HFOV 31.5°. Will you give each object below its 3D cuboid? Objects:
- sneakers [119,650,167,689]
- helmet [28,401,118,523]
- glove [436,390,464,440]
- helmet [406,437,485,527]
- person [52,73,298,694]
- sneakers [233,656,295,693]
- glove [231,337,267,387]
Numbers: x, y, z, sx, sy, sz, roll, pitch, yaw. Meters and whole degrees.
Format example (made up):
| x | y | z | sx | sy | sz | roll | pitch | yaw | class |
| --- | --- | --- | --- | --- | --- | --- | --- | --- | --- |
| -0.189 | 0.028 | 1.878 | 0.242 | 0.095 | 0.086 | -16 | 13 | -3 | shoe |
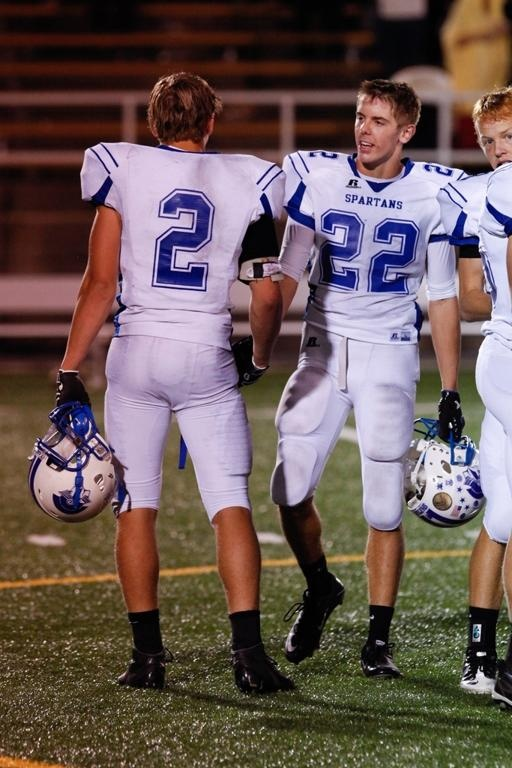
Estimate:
| x | y | z | sx | sy | sz | roll | pitch | yaw | class |
| --- | --- | --- | --- | --- | --- | --- | --- | --- | --- |
| -0.277 | 0.698 | 2.203 | 0.059 | 0.062 | 0.163 | 4 | -7 | -20 | sneakers |
| -0.444 | 0.227 | 2.192 | 0.209 | 0.361 | 0.193 | -7 | 24 | -12 | helmet |
| 0.532 | 0.091 | 2.460 | 0.088 | 0.121 | 0.049 | 4 | 0 | -11 | glove |
| 0.478 | 0.271 | 2.414 | 0.207 | 0.191 | 0.249 | 3 | 4 | -6 | helmet |
| -0.201 | 0.011 | 2.194 | 0.564 | 1.431 | 0.664 | -1 | 24 | 1 | person |
| 0.014 | 0.697 | 2.174 | 0.193 | 0.069 | 0.065 | 7 | -13 | -43 | sneakers |
| -0.030 | -0.055 | 2.385 | 0.115 | 0.119 | 0.117 | 5 | 1 | -27 | glove |
